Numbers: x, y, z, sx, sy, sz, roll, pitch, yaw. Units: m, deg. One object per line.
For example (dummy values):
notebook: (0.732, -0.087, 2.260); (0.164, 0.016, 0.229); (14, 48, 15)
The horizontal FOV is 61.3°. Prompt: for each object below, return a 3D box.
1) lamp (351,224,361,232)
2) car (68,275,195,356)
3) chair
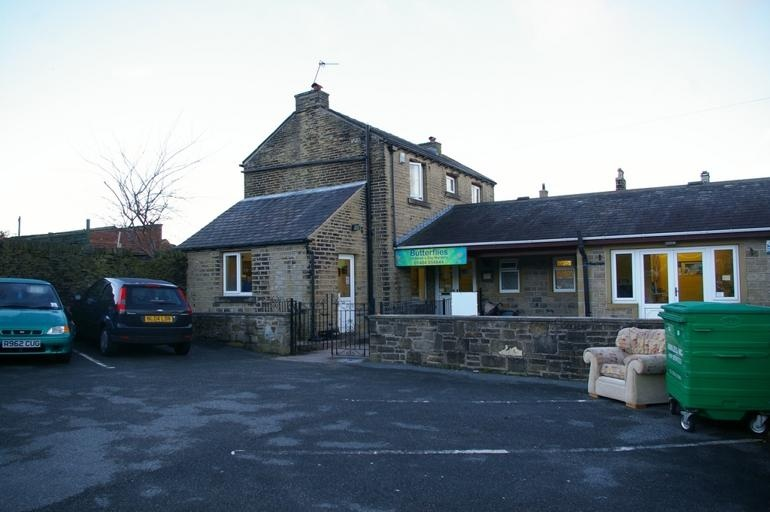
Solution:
lamp: (-1.043, -0.925, 23.690); (0.234, 0.280, 0.422); (-1, -2, 15)
car: (-6.992, 1.605, 17.500); (3.186, 2.030, 1.586); (-3, -4, 28)
chair: (5.140, 2.264, 13.586); (1.306, 1.387, 1.537); (-1, 0, -31)
